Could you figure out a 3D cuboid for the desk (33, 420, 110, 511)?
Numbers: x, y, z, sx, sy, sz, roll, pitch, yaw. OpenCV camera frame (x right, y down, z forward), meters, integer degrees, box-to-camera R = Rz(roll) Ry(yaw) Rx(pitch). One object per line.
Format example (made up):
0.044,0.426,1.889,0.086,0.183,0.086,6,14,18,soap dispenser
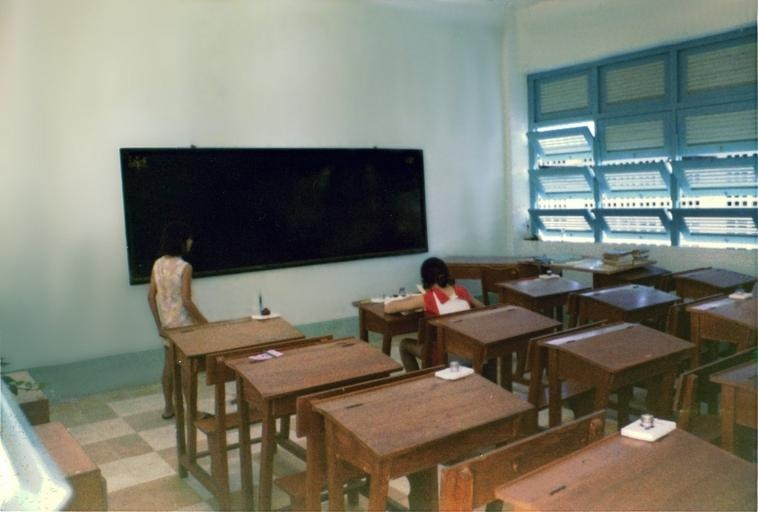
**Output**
-1.880,1.283,3.387,0.201,0.366,0.659,-4,14,-43,desk

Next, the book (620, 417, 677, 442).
1.426,0.916,2.948,0.278,0.062,0.147,-9,10,-28,book

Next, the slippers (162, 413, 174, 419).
-1.926,1.442,5.040,0.085,0.034,0.048,7,7,-21,slippers

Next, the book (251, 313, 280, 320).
-0.955,0.510,4.692,0.122,0.028,0.115,-2,3,-38,book
